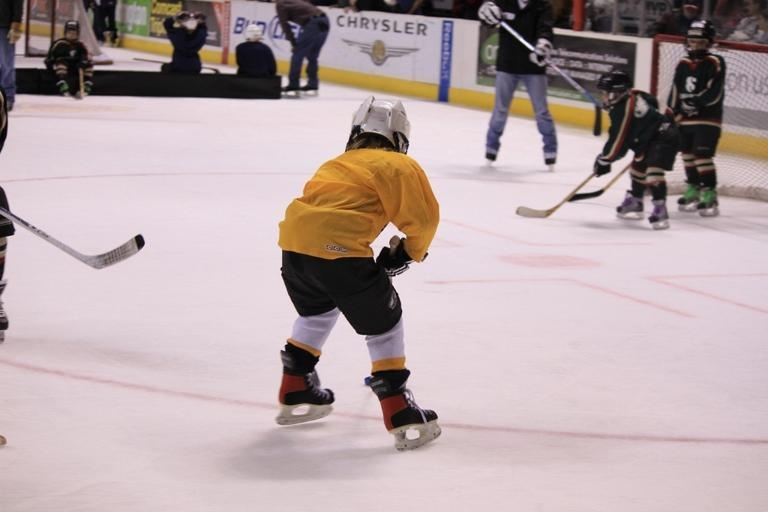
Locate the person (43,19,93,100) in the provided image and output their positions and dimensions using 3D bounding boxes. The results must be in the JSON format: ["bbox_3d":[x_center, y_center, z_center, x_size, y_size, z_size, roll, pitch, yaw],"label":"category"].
[{"bbox_3d":[-4.162,-2.645,11.242,0.515,1.008,0.905,-4,17,-36],"label":"person"}]

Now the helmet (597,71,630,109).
[{"bbox_3d":[1.710,-1.246,6.289,0.346,0.269,0.253,1,3,7],"label":"helmet"}]

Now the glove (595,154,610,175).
[{"bbox_3d":[1.644,-0.687,6.320,0.105,0.170,0.192,10,13,11],"label":"glove"}]

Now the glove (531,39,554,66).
[{"bbox_3d":[1.472,-1.880,7.744,0.225,0.184,0.247,17,9,6],"label":"glove"}]

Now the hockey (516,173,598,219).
[{"bbox_3d":[1.443,-0.493,6.986,1.092,0.118,0.171,-21,41,-33],"label":"hockey"}]

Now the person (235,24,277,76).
[{"bbox_3d":[-1.775,-2.887,11.826,0.570,0.716,0.364,4,15,-8],"label":"person"}]

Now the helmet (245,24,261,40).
[{"bbox_3d":[-1.779,-3.189,11.920,0.275,0.231,0.318,-4,23,-3],"label":"helmet"}]

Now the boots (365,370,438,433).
[{"bbox_3d":[0.074,0.590,3.419,0.140,0.213,0.332,-14,-11,40],"label":"boots"}]

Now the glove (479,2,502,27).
[{"bbox_3d":[1.012,-2.302,7.951,0.227,0.210,0.337,7,12,4],"label":"glove"}]

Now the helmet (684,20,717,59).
[{"bbox_3d":[2.533,-1.739,6.722,0.292,0.293,0.337,9,33,28],"label":"helmet"}]

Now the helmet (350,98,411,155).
[{"bbox_3d":[0.001,-0.559,3.581,0.268,0.234,0.265,7,22,3],"label":"helmet"}]

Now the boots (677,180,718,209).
[{"bbox_3d":[2.547,-0.494,6.758,0.302,0.172,0.308,-2,4,-18],"label":"boots"}]

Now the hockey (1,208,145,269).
[{"bbox_3d":[-1.904,-0.099,5.130,0.861,0.106,0.102,22,43,7],"label":"hockey"}]

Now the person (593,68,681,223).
[{"bbox_3d":[1.889,-0.806,6.344,0.710,1.126,0.500,9,15,9],"label":"person"}]

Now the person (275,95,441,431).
[{"bbox_3d":[-0.082,0.047,3.441,0.790,1.383,0.490,10,15,10],"label":"person"}]
